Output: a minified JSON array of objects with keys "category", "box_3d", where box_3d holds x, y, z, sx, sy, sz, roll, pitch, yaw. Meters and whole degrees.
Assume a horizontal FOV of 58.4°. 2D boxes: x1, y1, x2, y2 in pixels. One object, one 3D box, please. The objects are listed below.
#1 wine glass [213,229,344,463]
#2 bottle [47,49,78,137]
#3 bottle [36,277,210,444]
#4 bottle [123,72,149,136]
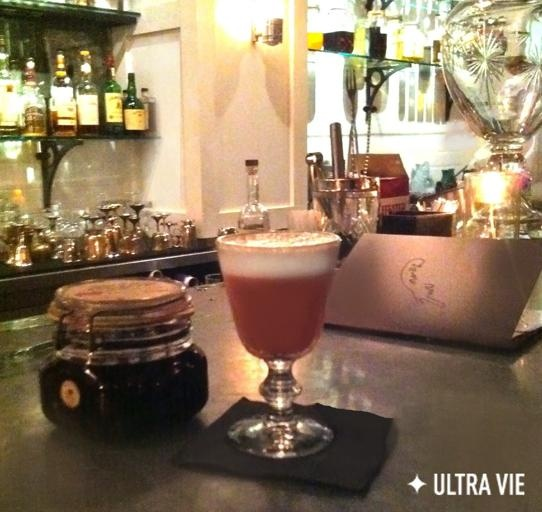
[{"category":"wine glass","box_3d":[0.008,0.067,0.423,0.107,0.174,0.124,3,7,26]},{"category":"bottle","box_3d":[-1.125,-0.854,2.626,0.140,0.447,0.321,-3,7,-24]},{"category":"bottle","box_3d":[-0.143,0.092,0.485,0.160,0.124,0.163,4,4,0]},{"category":"bottle","box_3d":[-0.823,-0.904,2.888,0.137,0.349,0.139,-2,10,0]}]
